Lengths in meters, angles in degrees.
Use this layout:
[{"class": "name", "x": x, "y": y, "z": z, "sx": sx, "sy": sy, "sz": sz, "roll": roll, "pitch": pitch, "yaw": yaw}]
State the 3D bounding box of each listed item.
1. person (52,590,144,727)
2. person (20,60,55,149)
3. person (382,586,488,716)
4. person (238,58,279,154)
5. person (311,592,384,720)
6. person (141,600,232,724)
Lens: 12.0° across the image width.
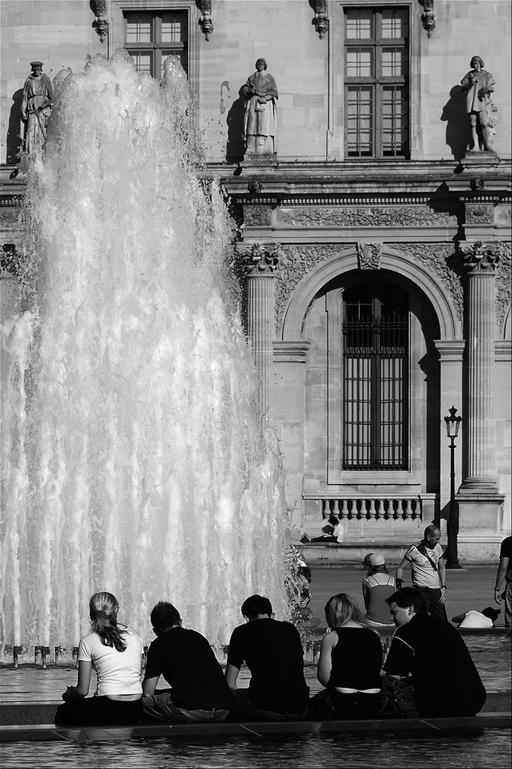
[{"class": "person", "x": -1.325, "y": 2.594, "z": 21.146, "sx": 0.538, "sy": 1.481, "sz": 0.946, "roll": 5, "pitch": -21, "yaw": -25}, {"class": "person", "x": -3.978, "y": -4.917, "z": 43.850, "sx": 0.418, "sy": 1.597, "sz": 0.889, "roll": 6, "pitch": 8, "yaw": -31}, {"class": "person", "x": 1.516, "y": 2.369, "z": 21.386, "sx": 0.650, "sy": 1.317, "sz": 0.798, "roll": -5, "pitch": -6, "yaw": -7}, {"class": "person", "x": 0.133, "y": -4.839, "z": 43.429, "sx": 0.670, "sy": 1.690, "sz": 0.787, "roll": 8, "pitch": 7, "yaw": -14}, {"class": "person", "x": 0.851, "y": 2.406, "z": 21.884, "sx": 0.476, "sy": 1.278, "sz": 0.818, "roll": -4, "pitch": 28, "yaw": -7}, {"class": "person", "x": -0.652, "y": 2.308, "z": 21.227, "sx": 0.818, "sy": 1.219, "sz": 0.852, "roll": -3, "pitch": 1, "yaw": -33}]
